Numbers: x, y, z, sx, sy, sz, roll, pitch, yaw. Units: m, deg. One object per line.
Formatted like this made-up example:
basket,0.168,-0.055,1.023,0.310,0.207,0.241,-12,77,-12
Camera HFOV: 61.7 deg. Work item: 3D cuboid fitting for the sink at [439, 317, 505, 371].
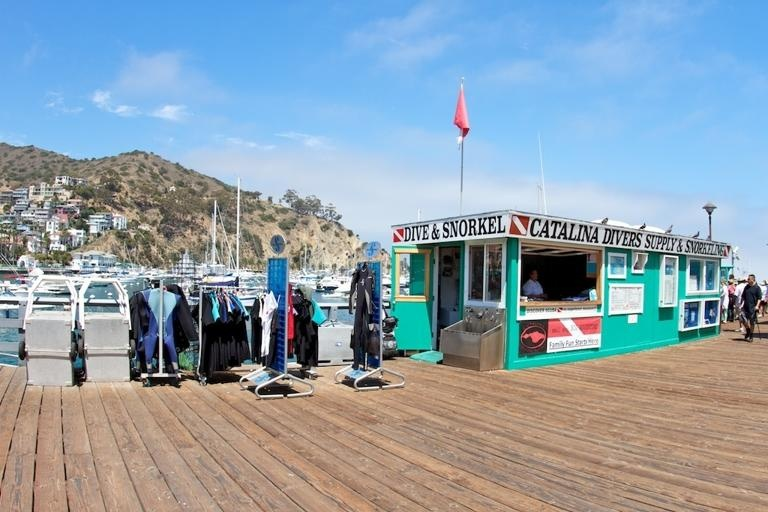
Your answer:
sink,1.872,1.852,13.690,1.261,1.017,0.611,10,13,37
